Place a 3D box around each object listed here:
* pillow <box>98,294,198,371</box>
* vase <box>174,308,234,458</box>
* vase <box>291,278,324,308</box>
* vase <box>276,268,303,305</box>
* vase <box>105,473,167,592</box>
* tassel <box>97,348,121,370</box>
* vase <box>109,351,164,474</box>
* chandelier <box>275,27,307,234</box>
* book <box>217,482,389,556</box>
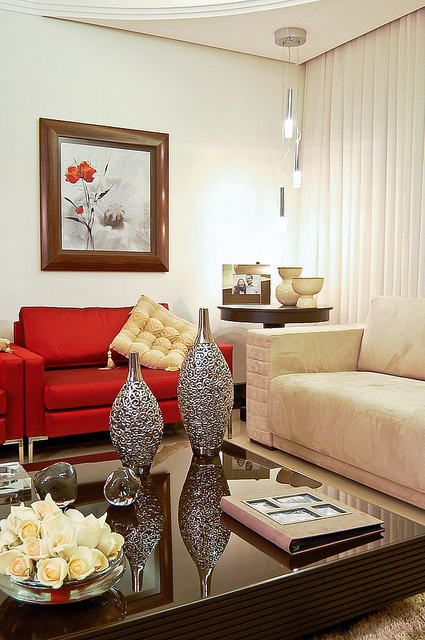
[{"bbox_3d":[-0.387,0.101,3.319,0.490,0.126,0.505,29,52,6],"label":"pillow"},{"bbox_3d":[-0.027,0.221,1.681,0.185,0.517,0.220,0,-3,-3],"label":"vase"},{"bbox_3d":[0.671,-0.180,3.442,0.216,0.190,0.209,0,0,-3],"label":"vase"},{"bbox_3d":[0.525,-0.251,3.620,0.238,0.331,0.242,0,5,1],"label":"vase"},{"bbox_3d":[-0.171,0.467,1.062,0.120,0.143,0.232,0,4,-15],"label":"vase"},{"bbox_3d":[-0.690,0.260,3.212,0.114,0.113,0.114,-2,-5,12],"label":"tassel"},{"bbox_3d":[-0.250,0.269,1.521,0.166,0.364,0.174,-1,7,-14],"label":"vase"},{"bbox_3d":[0.660,-1.477,4.009,0.321,1.646,0.302,-3,4,-27],"label":"chandelier"},{"bbox_3d":[0.218,0.464,1.174,0.319,0.046,0.304,1,-3,-30],"label":"book"}]
